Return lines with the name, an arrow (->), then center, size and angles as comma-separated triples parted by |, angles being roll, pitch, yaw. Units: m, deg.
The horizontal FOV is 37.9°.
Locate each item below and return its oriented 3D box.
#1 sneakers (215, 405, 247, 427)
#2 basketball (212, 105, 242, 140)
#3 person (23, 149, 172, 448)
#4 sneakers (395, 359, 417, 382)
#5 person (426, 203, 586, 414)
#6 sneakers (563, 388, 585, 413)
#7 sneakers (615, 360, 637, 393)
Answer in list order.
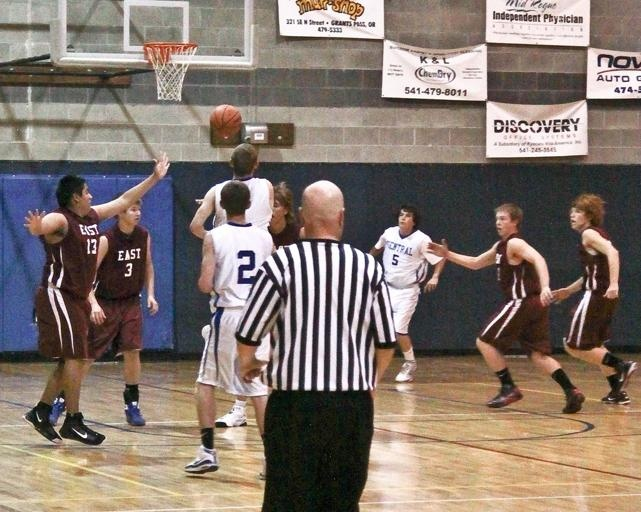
sneakers -> -0.782, 1.441, 8.353 | 0.315, 0.197, 0.123 | 1, -4, -15
basketball -> -1.144, -1.633, 11.249 | 0.351, 0.379, 0.260 | 1, 2, -10
person -> -1.874, 0.443, 7.386 | 0.871, 2.152, 0.722 | 0, 3, -19
sneakers -> 1.022, 1.368, 11.113 | 0.144, 0.142, 0.354 | -1, 39, 31
person -> 1.920, 0.506, 9.196 | 1.325, 2.024, 0.723 | 2, 2, 16
sneakers -> 2.452, 1.398, 9.070 | 0.183, 0.248, 0.250 | 2, 3, 15
sneakers -> 3.205, 1.276, 9.849 | 0.157, 0.388, 0.130 | 17, 25, 8
